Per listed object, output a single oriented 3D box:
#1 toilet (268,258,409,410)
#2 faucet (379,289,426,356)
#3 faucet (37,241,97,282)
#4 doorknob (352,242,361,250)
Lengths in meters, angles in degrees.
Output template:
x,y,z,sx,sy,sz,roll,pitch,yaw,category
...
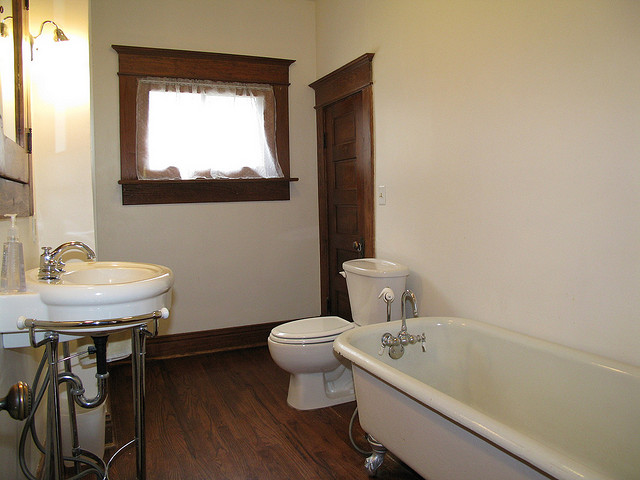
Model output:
x,y,z,sx,sy,sz,roll,pitch,yaw,category
0.111,0.613,3.428,0.997,1.086,0.746,-1,4,-17,toilet
0.465,0.423,2.515,0.187,0.421,0.180,13,9,42,faucet
-1.099,0.092,2.018,0.210,0.170,0.143,0,5,-29,faucet
0.298,0.050,3.721,0.049,0.034,0.078,0,8,-2,doorknob
